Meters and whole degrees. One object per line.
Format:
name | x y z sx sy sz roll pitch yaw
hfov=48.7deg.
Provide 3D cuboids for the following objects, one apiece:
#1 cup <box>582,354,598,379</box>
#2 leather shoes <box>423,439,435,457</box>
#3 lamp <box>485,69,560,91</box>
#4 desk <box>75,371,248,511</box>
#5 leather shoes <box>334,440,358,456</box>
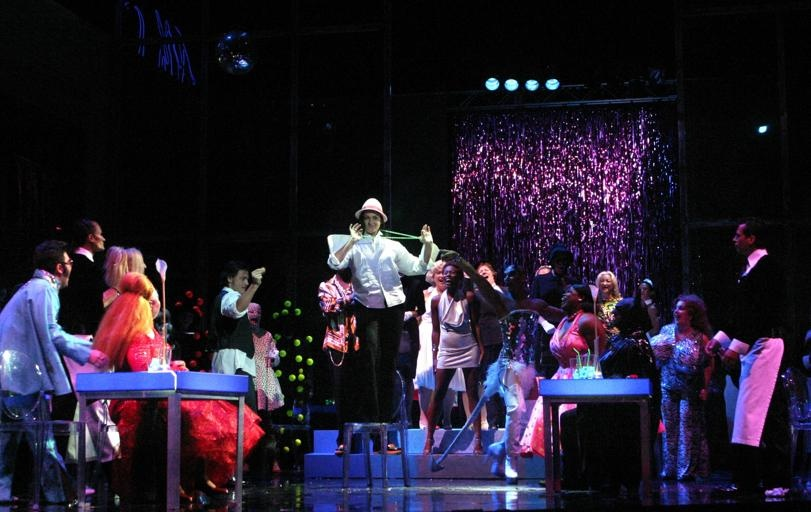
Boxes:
cup | 1.657 0.993 8.077 0.161 0.233 0.341 -3 -10 11
leather shoes | 0.249 2.079 9.737 0.089 0.160 0.069 3 -16 -8
lamp | 1.575 -2.322 12.195 1.045 0.166 0.266 -2 -10 6
desk | -2.063 1.495 7.789 1.371 1.313 1.257 -4 -13 17
leather shoes | -0.631 2.112 9.870 0.251 0.118 0.355 -2 -4 8
